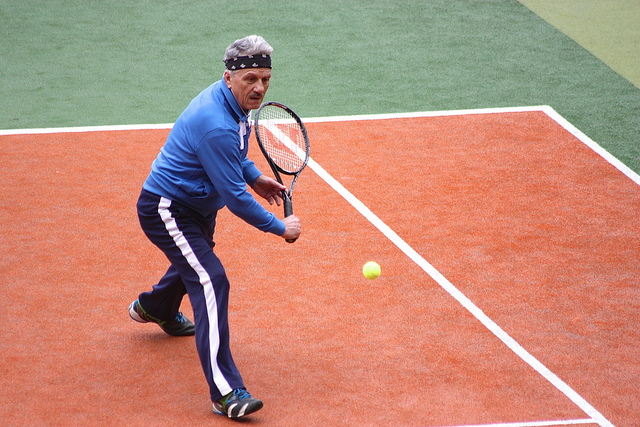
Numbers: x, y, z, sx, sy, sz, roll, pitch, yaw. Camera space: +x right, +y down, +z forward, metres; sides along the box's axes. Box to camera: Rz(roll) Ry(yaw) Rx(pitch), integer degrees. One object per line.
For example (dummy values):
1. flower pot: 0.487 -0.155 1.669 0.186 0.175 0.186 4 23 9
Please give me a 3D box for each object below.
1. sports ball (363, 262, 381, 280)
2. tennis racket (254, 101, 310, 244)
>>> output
1. sports ball: 0.528 0.592 8.984 0.172 0.168 0.110 -32 11 -15
2. tennis racket: -0.368 -0.325 9.209 0.662 0.174 2.239 15 48 -29
